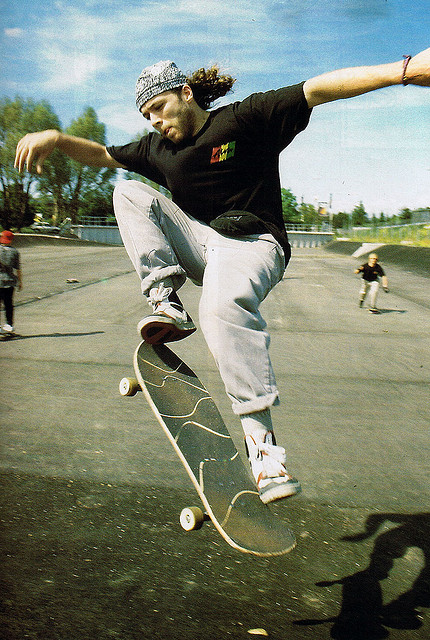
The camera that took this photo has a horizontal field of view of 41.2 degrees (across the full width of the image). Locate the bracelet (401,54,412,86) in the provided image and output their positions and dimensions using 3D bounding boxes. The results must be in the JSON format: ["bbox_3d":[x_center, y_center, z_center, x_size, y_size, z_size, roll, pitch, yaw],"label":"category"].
[{"bbox_3d":[0.575,-0.749,1.720,0.017,0.080,0.024,9,9,37],"label":"bracelet"}]

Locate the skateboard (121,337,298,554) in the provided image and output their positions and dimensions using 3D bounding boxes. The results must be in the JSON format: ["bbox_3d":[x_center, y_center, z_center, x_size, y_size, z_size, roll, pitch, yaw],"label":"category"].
[{"bbox_3d":[-0.054,0.604,2.611,0.343,0.173,1.157,-3,43,-45],"label":"skateboard"}]

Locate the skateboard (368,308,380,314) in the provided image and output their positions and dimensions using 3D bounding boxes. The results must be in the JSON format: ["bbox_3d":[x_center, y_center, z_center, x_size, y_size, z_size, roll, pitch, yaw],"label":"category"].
[{"bbox_3d":[3.255,-0.174,11.640,0.115,0.056,0.152,10,17,23],"label":"skateboard"}]
